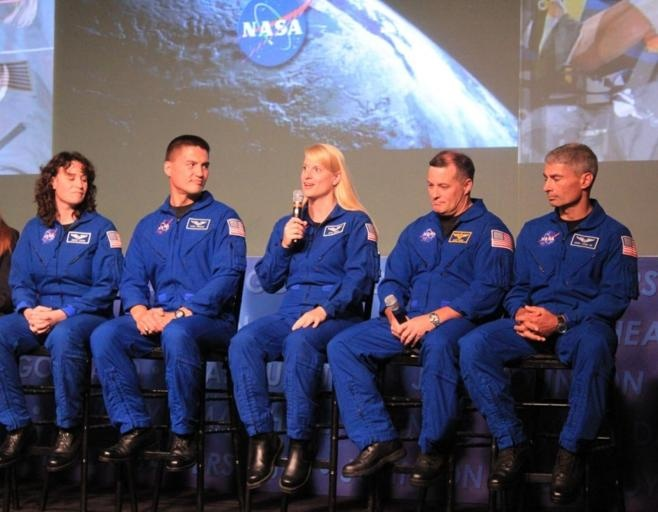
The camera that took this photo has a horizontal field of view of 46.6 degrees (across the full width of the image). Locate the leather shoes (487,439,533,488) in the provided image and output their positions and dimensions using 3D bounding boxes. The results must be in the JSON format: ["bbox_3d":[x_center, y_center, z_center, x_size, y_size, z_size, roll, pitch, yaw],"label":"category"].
[{"bbox_3d":[0.876,0.982,3.689,0.106,0.128,0.306,1,17,39],"label":"leather shoes"}]

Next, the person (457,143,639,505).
[{"bbox_3d":[1.109,0.283,3.839,0.841,1.774,0.513,-3,-8,19],"label":"person"}]

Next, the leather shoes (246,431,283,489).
[{"bbox_3d":[-0.328,1.018,3.846,0.116,0.162,0.350,-2,17,19],"label":"leather shoes"}]

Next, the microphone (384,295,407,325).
[{"bbox_3d":[0.342,0.270,3.903,0.109,0.146,0.076,-2,-7,6],"label":"microphone"}]

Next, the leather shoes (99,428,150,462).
[{"bbox_3d":[-1.029,0.982,3.995,0.115,0.124,0.317,4,1,30],"label":"leather shoes"}]

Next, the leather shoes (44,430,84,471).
[{"bbox_3d":[-1.397,1.023,4.055,0.164,0.200,0.103,2,-8,-18],"label":"leather shoes"}]

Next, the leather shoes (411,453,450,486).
[{"bbox_3d":[0.497,1.044,3.759,0.196,0.153,0.108,-1,-7,-1],"label":"leather shoes"}]

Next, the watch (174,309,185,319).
[{"bbox_3d":[-0.795,0.305,4.094,0.049,0.045,0.077,5,-9,-37],"label":"watch"}]

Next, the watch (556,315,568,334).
[{"bbox_3d":[1.153,0.336,3.785,0.051,0.093,0.044,-2,-7,13],"label":"watch"}]

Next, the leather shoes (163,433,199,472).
[{"bbox_3d":[-0.757,1.016,3.949,0.150,0.190,0.150,-1,-7,4],"label":"leather shoes"}]

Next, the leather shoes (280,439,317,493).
[{"bbox_3d":[-0.154,1.037,3.805,0.111,0.140,0.330,0,1,9],"label":"leather shoes"}]

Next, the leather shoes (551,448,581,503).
[{"bbox_3d":[1.118,1.019,3.582,0.099,0.129,0.301,4,28,18],"label":"leather shoes"}]
